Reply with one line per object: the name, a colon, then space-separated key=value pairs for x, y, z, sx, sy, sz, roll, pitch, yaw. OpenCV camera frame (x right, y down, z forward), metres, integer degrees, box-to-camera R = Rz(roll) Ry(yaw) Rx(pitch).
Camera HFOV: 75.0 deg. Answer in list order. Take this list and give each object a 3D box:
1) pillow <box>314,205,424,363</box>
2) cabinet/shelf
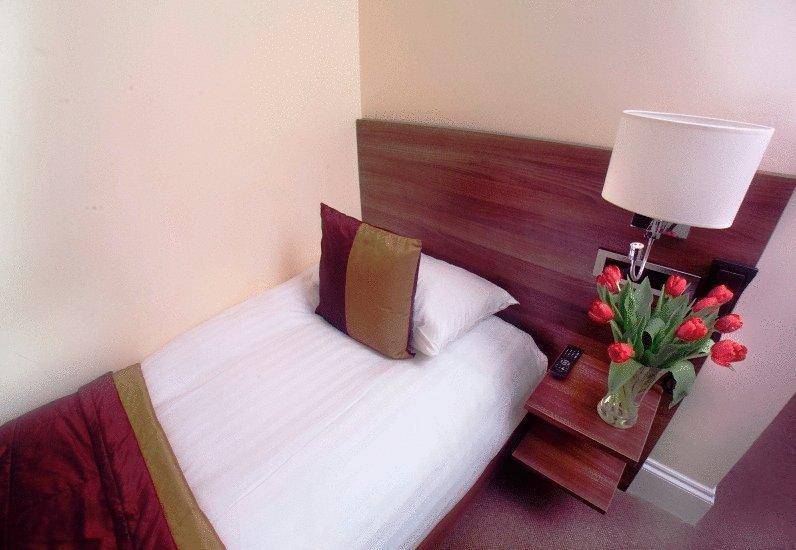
pillow: x=-0.129 y=0.066 z=2.284 sx=0.522 sy=0.513 sz=0.195 roll=27 pitch=37 yaw=33
cabinet/shelf: x=0.813 y=0.622 z=2.270 sx=0.571 sy=0.489 sz=0.617 roll=26 pitch=50 yaw=30
